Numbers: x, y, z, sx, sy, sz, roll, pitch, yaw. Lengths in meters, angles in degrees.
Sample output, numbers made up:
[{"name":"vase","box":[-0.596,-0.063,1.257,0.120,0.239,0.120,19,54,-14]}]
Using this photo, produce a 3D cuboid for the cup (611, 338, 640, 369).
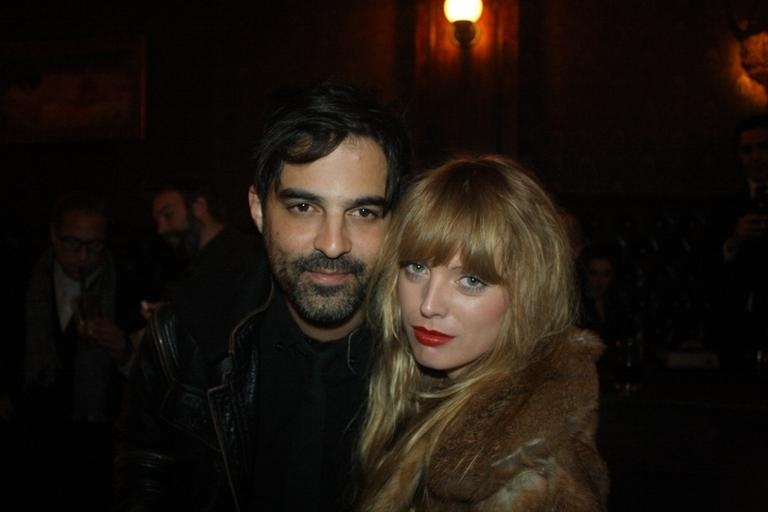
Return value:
[{"name":"cup","box":[2.427,0.994,7.280,0.320,0.329,0.297,0,-12,0]}]
